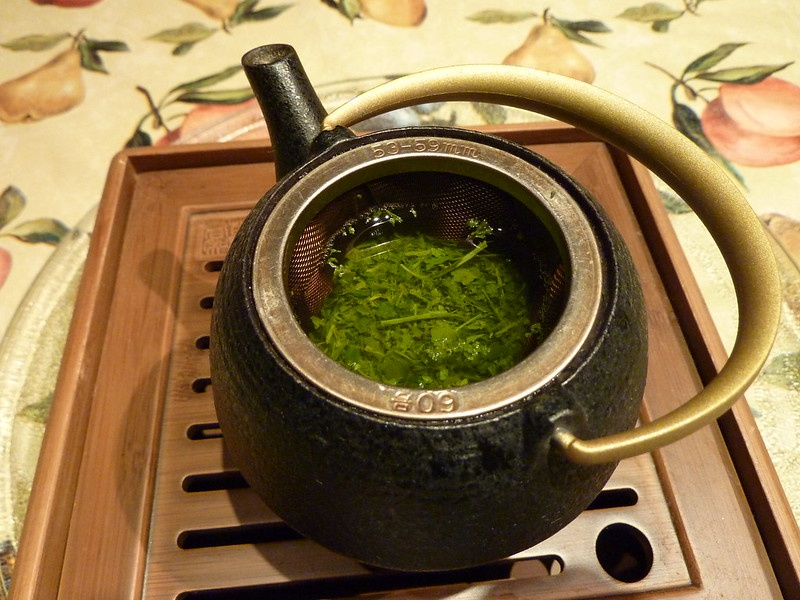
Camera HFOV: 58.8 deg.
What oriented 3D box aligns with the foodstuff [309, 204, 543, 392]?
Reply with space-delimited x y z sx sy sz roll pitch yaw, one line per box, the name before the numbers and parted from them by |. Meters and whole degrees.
foodstuff | 0.033 0.010 0.968 0.285 0.104 0.223 8 63 6
